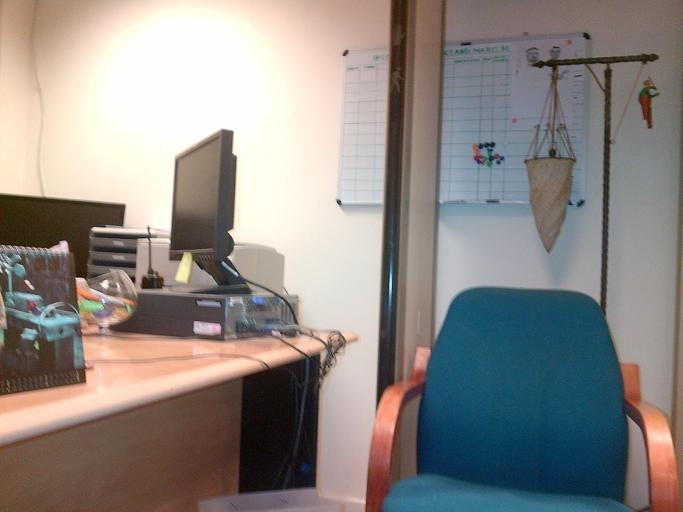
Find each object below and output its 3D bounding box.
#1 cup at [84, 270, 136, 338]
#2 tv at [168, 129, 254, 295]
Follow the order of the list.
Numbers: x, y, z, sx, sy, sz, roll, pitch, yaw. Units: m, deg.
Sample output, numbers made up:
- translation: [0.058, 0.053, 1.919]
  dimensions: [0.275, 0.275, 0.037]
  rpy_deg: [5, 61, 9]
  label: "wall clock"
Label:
- translation: [-0.769, 0.155, 1.763]
  dimensions: [0.165, 0.197, 0.173]
  rpy_deg: [-2, 4, 0]
  label: "cup"
- translation: [-0.533, -0.183, 2.044]
  dimensions: [0.163, 0.567, 0.439]
  rpy_deg: [-4, 9, -36]
  label: "tv"
